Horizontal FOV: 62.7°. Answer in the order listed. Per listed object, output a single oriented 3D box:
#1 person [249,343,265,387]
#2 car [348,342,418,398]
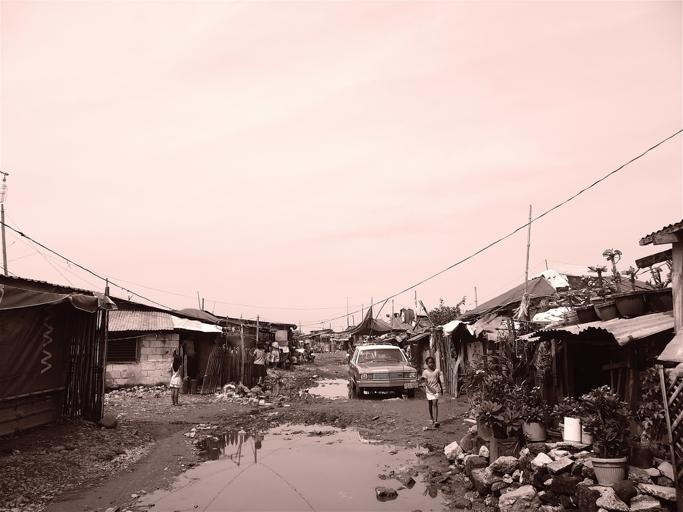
[{"bbox_3d":[-3.752,4.949,25.352,0.587,1.394,2.974,1,-4,-8],"label":"person"},{"bbox_3d":[1.506,4.343,20.675,2.378,1.914,2.479,1,-4,-3],"label":"car"}]
